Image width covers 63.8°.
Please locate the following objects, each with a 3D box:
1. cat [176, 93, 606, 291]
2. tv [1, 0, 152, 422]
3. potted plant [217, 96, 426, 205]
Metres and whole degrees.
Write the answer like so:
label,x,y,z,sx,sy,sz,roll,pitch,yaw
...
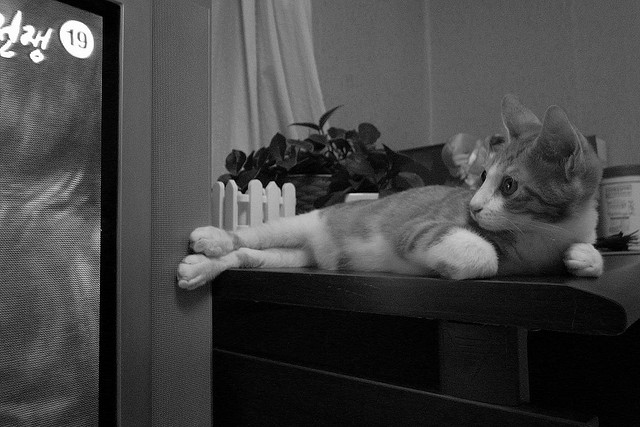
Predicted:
label,x,y,z,sx,sy,sz,roll,pitch,yaw
cat,0.138,-0.011,1.188,0.859,0.390,0.455,-4,-1,35
tv,-0.471,0.006,1.031,0.330,0.872,0.148,-5,7,-21
potted plant,0.004,-0.160,1.593,0.460,0.208,0.442,1,1,-8
